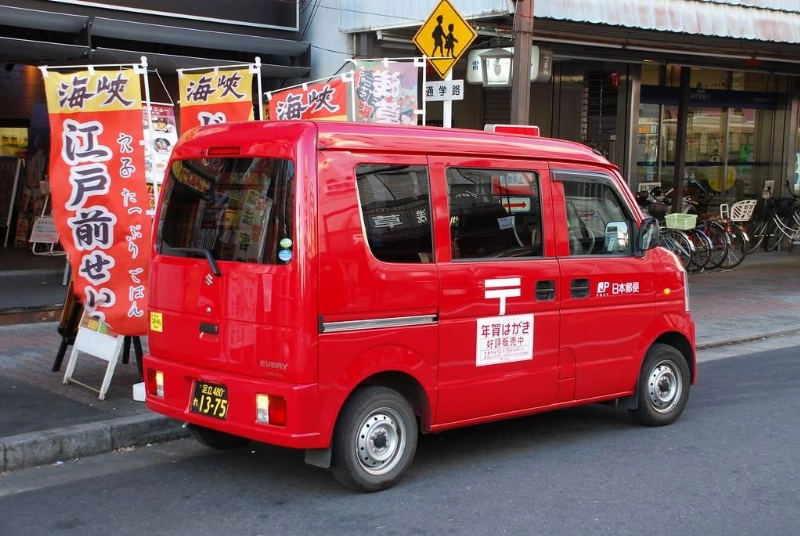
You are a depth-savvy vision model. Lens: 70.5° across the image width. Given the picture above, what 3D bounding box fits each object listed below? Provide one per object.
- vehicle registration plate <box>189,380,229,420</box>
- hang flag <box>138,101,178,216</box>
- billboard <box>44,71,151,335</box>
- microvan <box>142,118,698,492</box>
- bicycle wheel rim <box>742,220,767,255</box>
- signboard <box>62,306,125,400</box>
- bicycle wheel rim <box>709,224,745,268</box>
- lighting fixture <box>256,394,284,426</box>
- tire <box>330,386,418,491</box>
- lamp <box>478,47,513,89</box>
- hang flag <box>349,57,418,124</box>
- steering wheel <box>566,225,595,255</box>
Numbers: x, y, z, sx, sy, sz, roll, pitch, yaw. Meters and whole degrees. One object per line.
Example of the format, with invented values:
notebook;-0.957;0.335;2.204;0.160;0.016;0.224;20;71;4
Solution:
vehicle registration plate;-1.464;1.012;4.378;0.462;0.300;0.008;0;-9;35
hang flag;-2.857;-1.330;6.691;0.323;1.365;0.015;1;-15;-21
billboard;-3.104;-0.691;5.888;0.954;2.651;0.208;0;5;-3
microvan;0.390;0.158;5.895;4.929;2.747;2.625;-4;5;-35
bicycle wheel rim;11.497;-0.984;18.404;1.146;1.073;0.233;-19;22;-37
signboard;-3.343;0.786;6.509;0.626;1.103;0.662;12;12;18
bicycle wheel rim;9.440;-0.533;16.296;0.333;1.418;1.354;-4;43;39
lighting fixture;-0.924;1.013;4.074;0.241;0.181;0.032;6;7;36
tire;-0.224;1.307;4.340;0.815;0.284;0.804;11;43;-37
lamp;1.727;-3.567;9.933;0.639;0.816;0.678;5;15;23
hang flag;-0.201;-2.512;8.077;0.917;0.851;0.334;-1;5;-12
steering wheel;1.720;-0.263;5.397;0.262;0.262;0.278;-1;2;0
